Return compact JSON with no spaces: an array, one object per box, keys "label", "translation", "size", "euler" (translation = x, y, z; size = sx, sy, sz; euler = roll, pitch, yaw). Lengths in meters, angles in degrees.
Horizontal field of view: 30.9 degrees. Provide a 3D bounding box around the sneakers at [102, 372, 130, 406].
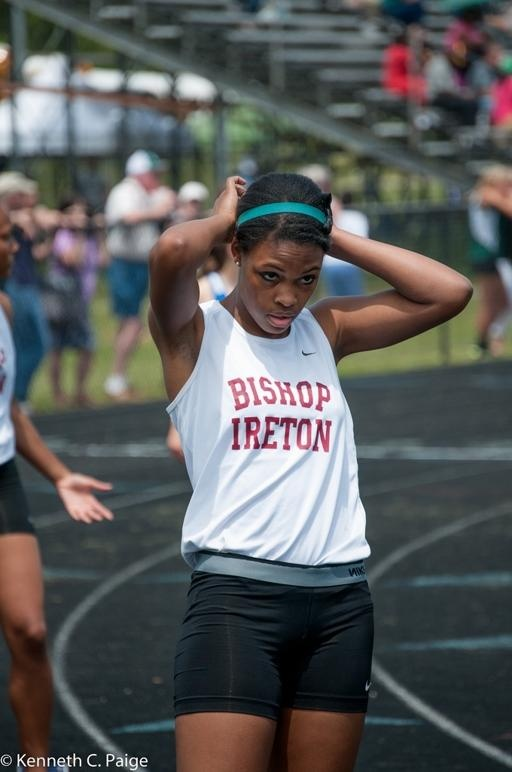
[{"label":"sneakers","translation":[-0.896,-0.007,6.052],"size":[0.204,0.234,0.247],"euler":[-1,22,-7]}]
